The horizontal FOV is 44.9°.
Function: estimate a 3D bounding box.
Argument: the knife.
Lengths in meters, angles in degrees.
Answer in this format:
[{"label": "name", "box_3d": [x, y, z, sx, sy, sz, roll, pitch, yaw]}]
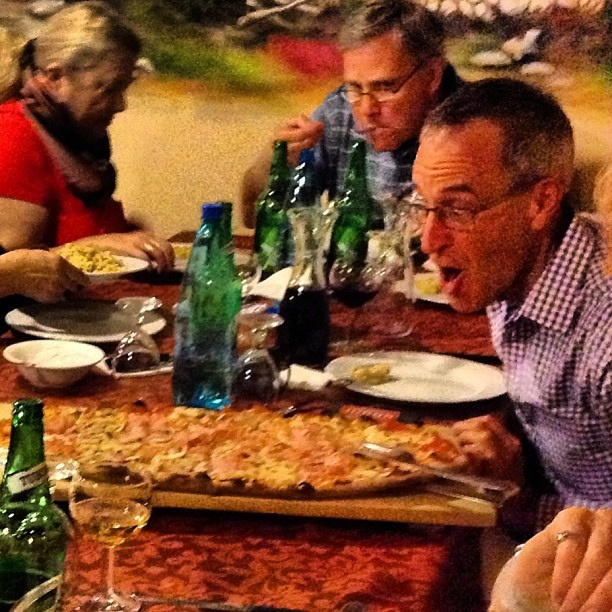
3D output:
[{"label": "knife", "box_3d": [0.142, 0.227, 1.042, 0.264, 0.008, 0.061, 8, 15, 13]}]

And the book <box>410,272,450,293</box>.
[{"label": "book", "box_3d": [0.267, -0.050, 1.631, 0.061, 0.015, 0.043, 3, 59, 5]}]

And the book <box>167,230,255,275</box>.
[{"label": "book", "box_3d": [-0.295, -0.180, 2.042, 0.257, 0.047, 0.178, -1, 41, 3]}]

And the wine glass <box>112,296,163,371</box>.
[{"label": "wine glass", "box_3d": [-0.327, 0.057, 1.426, 0.113, 0.083, 0.138, -3, 57, -3]}]

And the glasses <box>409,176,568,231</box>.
[{"label": "glasses", "box_3d": [0.316, -0.170, 1.365, 0.188, 0.038, 0.118, -16, 10, -4]}]
